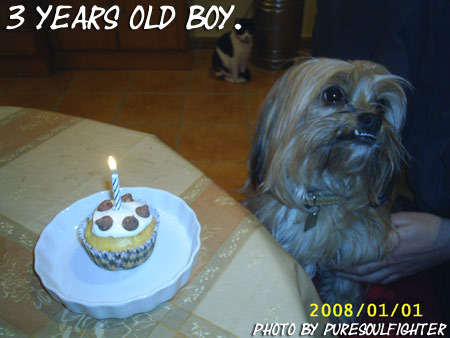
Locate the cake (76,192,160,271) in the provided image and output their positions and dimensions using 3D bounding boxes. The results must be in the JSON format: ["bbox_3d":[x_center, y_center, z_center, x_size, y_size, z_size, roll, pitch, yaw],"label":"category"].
[{"bbox_3d":[-0.316,0.227,1.277,0.204,0.168,0.218,-5,9,-18],"label":"cake"}]

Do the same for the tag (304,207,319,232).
[{"bbox_3d":[0.417,0.244,1.944,0.031,0.102,0.072,22,15,-8],"label":"tag"}]

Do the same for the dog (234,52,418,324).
[{"bbox_3d":[0.436,0.144,2.200,0.707,1.475,0.929,5,32,-3],"label":"dog"}]
